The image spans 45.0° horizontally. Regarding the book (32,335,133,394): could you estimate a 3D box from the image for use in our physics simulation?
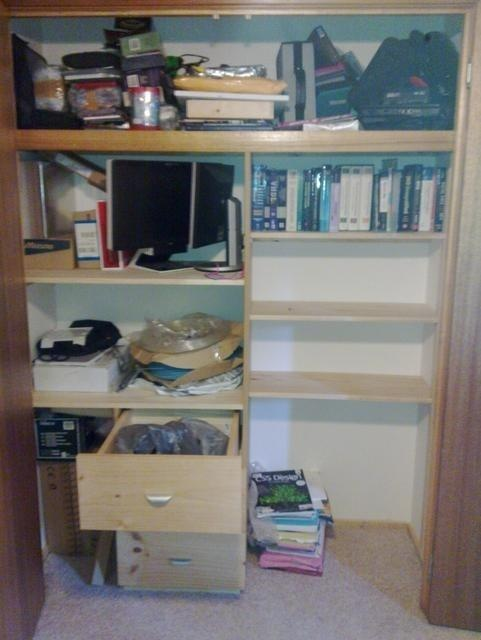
[{"bbox_3d":[-0.574,0.167,2.135,0.295,0.116,0.278,0,14,-1],"label":"book"}]

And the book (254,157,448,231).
[{"bbox_3d":[0.349,-0.406,1.918,0.607,0.226,0.163,2,14,7],"label":"book"}]

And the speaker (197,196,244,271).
[{"bbox_3d":[-0.088,-0.305,2.053,0.212,0.244,0.228,-2,14,12],"label":"speaker"}]

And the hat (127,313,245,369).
[{"bbox_3d":[-0.201,0.082,2.122,0.258,0.061,0.249,2,24,16],"label":"hat"}]

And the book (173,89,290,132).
[{"bbox_3d":[-0.030,-0.640,1.795,0.343,0.116,0.077,1,14,5],"label":"book"}]

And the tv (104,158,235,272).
[{"bbox_3d":[-0.239,-0.361,2.005,0.169,0.359,0.539,22,24,35],"label":"tv"}]
